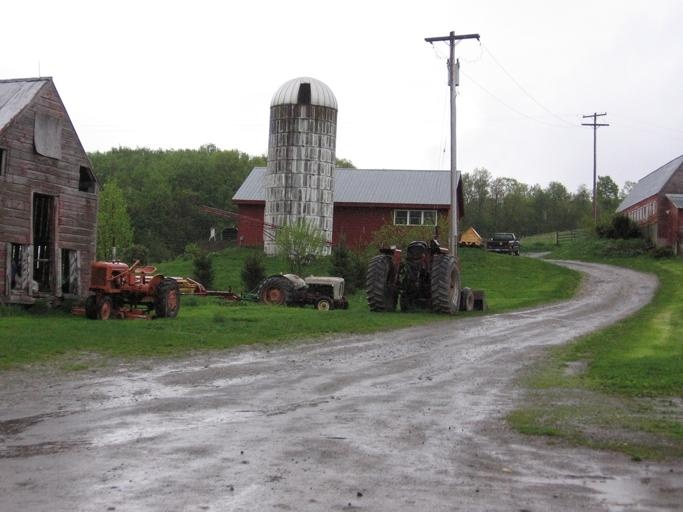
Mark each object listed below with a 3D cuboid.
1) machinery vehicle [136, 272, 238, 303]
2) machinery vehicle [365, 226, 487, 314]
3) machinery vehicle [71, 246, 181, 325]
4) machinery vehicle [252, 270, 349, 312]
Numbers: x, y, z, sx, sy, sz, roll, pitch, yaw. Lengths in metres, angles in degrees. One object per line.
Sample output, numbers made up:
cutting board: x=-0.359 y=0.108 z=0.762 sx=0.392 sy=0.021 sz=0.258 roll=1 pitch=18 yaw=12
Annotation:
machinery vehicle: x=-6.013 y=1.293 z=27.700 sx=5.120 sy=1.088 sz=1.554 roll=1 pitch=4 yaw=17
machinery vehicle: x=3.050 y=0.633 z=24.387 sx=2.063 sy=2.888 sz=4.046 roll=0 pitch=0 yaw=22
machinery vehicle: x=-6.301 y=0.952 z=19.565 sx=1.822 sy=1.281 sz=2.299 roll=-2 pitch=-6 yaw=30
machinery vehicle: x=-1.518 y=1.352 z=26.104 sx=2.383 sy=1.547 sz=1.734 roll=-2 pitch=1 yaw=11
